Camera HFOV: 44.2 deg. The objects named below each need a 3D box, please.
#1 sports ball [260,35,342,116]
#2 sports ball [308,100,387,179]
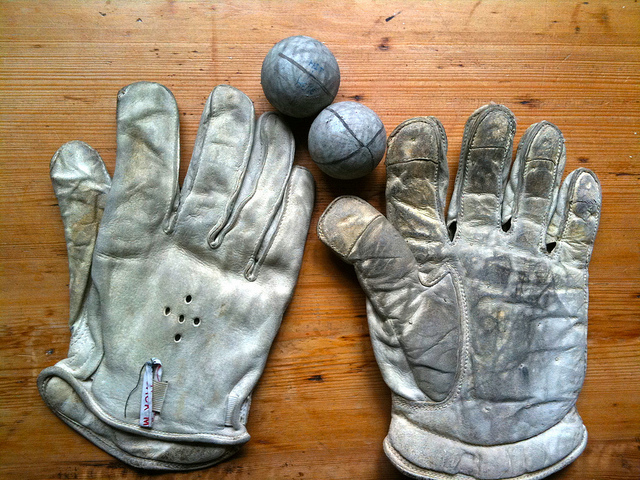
[{"bbox_3d":[-0.074,-0.564,2.942,0.287,0.278,0.270,17,58,-30],"label":"sports ball"},{"bbox_3d":[0.096,-0.344,2.964,0.279,0.257,0.262,17,-3,1],"label":"sports ball"}]
